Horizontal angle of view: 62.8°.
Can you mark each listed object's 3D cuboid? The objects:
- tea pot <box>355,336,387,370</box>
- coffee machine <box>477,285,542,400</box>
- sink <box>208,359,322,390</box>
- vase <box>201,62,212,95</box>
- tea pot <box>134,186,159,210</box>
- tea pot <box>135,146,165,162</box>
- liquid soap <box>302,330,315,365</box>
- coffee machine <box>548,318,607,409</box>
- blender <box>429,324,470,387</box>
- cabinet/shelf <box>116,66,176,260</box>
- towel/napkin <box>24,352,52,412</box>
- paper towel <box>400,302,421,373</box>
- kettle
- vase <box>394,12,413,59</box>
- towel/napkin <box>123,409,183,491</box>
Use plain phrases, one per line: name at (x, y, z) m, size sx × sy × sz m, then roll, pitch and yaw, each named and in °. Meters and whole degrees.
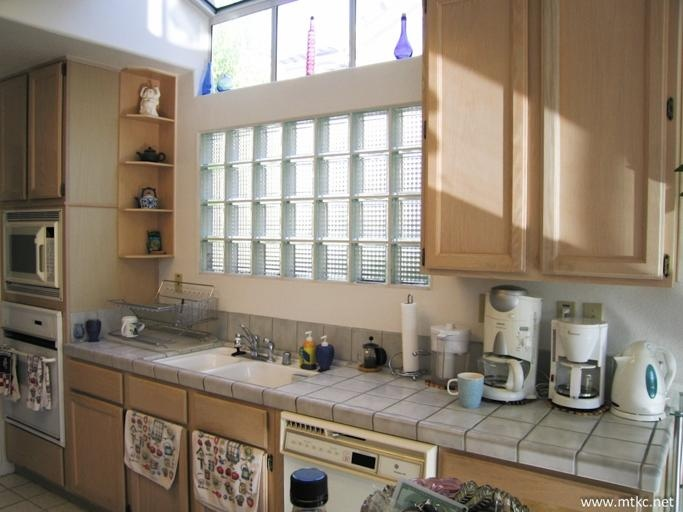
tea pot at (0.188, 0.571, 3.284) m, size 0.099 × 0.175 × 0.163 m, roll 0°, pitch 2°, yaw 37°
coffee machine at (0.823, 0.400, 2.794) m, size 0.250 × 0.604 × 0.256 m, roll 5°, pitch 6°, yaw 32°
sink at (-0.540, 0.632, 3.462) m, size 0.340 × 0.114 × 0.220 m, roll 6°, pitch 6°, yaw 39°
vase at (-1.001, -1.322, 4.155) m, size 0.076 × 0.269 × 0.112 m, roll -2°, pitch 2°, yaw -35°
tea pot at (-1.450, -0.440, 4.224) m, size 0.182 × 0.175 × 0.174 m, roll -1°, pitch 2°, yaw 0°
tea pot at (-1.438, -0.768, 4.199) m, size 0.169 × 0.098 × 0.118 m, roll 5°, pitch -1°, yaw -10°
liquid soap at (-0.205, 0.577, 3.428) m, size 0.083 × 0.193 × 0.151 m, roll -1°, pitch 2°, yaw -7°
coffee machine at (1.116, 0.505, 2.646) m, size 0.249 × 0.408 × 0.209 m, roll -1°, pitch 2°, yaw 21°
blender at (0.568, 0.515, 2.981) m, size 0.256 × 0.327 × 0.227 m, roll -7°, pitch 10°, yaw -41°
cabinet/shelf at (-1.494, -0.674, 4.215) m, size 0.317 × 1.445 × 0.379 m, roll 9°, pitch 10°, yaw 38°
towel/napkin at (-2.106, 0.897, 3.910) m, size 0.272 × 0.398 × 0.095 m, roll 0°, pitch 2°, yaw 37°
paper towel at (0.387, 0.456, 3.165) m, size 0.097 × 0.387 × 0.157 m, roll -1°, pitch 2°, yaw 7°
kettle at (1.309, 0.563, 2.545) m, size 0.343 × 0.367 × 0.242 m, roll 2°, pitch -5°, yaw 15°
vase at (0.373, -1.296, 3.312) m, size 0.115 × 0.288 × 0.132 m, roll 0°, pitch 2°, yaw 23°
towel/napkin at (-1.112, 1.147, 3.310) m, size 0.507 × 0.382 × 0.034 m, roll 0°, pitch 2°, yaw 33°
